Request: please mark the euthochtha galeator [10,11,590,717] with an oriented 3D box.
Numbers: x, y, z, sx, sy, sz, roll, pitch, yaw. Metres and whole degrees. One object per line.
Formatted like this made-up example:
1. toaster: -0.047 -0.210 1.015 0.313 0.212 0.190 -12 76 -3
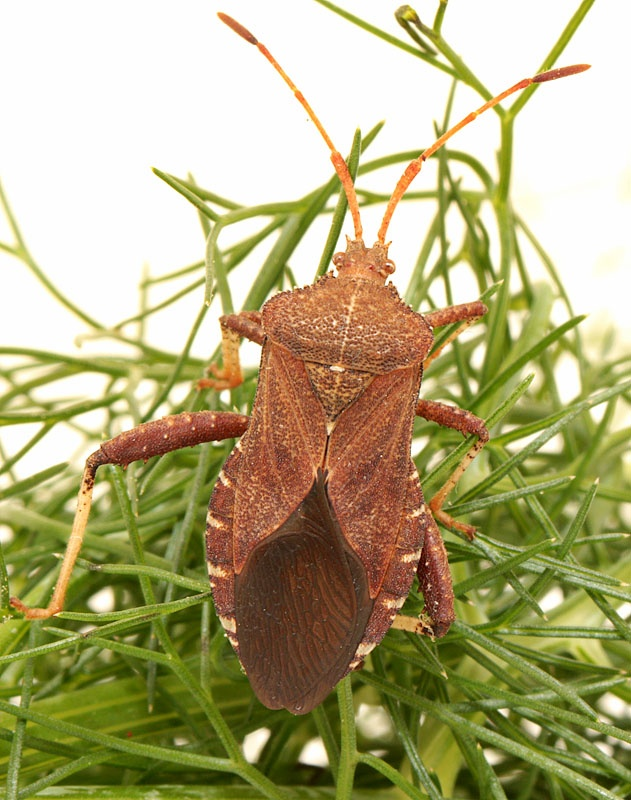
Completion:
1. euthochtha galeator: 0.062 0.065 2.590 1.524 1.954 0.512 14 -20 8
